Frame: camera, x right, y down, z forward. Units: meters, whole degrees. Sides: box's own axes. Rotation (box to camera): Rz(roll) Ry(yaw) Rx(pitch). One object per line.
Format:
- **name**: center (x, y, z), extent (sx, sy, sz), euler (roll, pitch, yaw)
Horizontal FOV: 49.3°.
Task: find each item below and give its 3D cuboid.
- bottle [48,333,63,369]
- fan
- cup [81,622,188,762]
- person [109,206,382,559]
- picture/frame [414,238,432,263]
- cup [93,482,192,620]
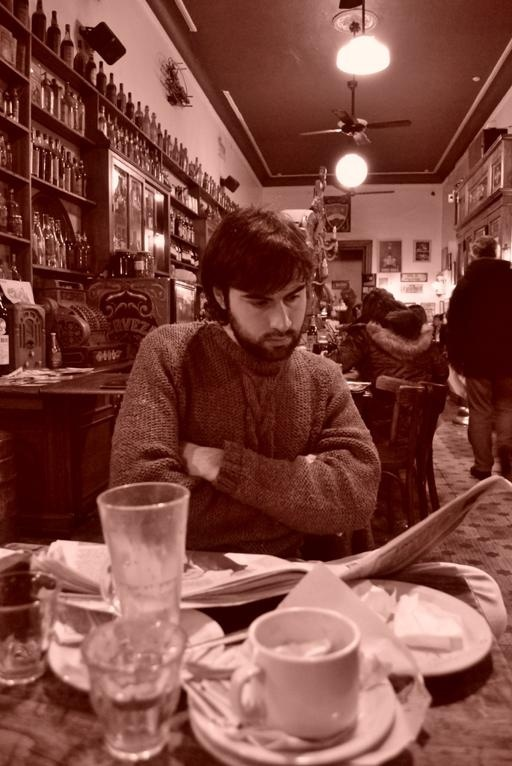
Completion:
- **bottle**: center (-1.184, -0.190, 3.219), extent (0.076, 0.204, 0.099), euler (1, 4, -23)
- **fan**: center (1.319, -3.453, 7.078), extent (1.004, 0.623, 1.099), euler (-1, 6, -18)
- **cup**: center (-0.084, 0.215, 0.430), extent (0.074, 0.103, 0.084), euler (1, 0, -4)
- **person**: center (-0.006, 0.174, 1.215), extent (0.498, 1.071, 0.482), euler (2, -2, 3)
- **picture/frame**: center (3.586, -2.752, 11.475), extent (0.380, 0.661, 0.039), euler (0, 10, 2)
- **cup**: center (-0.106, 0.164, 0.519), extent (0.080, 0.150, 0.158), euler (2, 4, -9)
